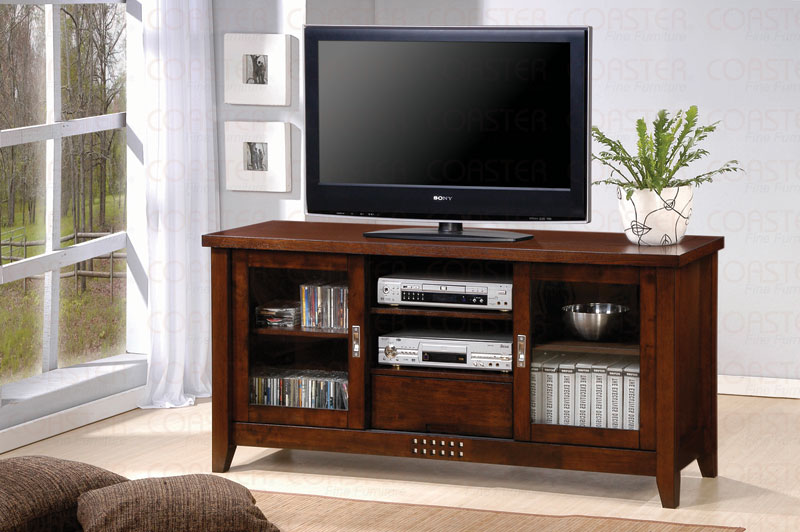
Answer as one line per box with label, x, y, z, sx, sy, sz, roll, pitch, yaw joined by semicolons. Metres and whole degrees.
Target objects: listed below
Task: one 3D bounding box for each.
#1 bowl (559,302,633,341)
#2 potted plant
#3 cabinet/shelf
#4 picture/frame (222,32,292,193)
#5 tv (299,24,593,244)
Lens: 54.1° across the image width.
bowl;0.810;0.250;3.438;0.310;0.142;0.307;-1;7;0
potted plant;1.212;-0.371;3.470;0.683;0.533;0.643;2;4;29
cabinet/shelf;0.246;0.391;3.684;2.201;0.960;0.720;0;1;23
picture/frame;-0.853;-0.913;4.677;0.405;0.937;0.143;2;12;12
tv;0.213;-0.630;3.706;1.427;0.963;0.348;6;17;26
